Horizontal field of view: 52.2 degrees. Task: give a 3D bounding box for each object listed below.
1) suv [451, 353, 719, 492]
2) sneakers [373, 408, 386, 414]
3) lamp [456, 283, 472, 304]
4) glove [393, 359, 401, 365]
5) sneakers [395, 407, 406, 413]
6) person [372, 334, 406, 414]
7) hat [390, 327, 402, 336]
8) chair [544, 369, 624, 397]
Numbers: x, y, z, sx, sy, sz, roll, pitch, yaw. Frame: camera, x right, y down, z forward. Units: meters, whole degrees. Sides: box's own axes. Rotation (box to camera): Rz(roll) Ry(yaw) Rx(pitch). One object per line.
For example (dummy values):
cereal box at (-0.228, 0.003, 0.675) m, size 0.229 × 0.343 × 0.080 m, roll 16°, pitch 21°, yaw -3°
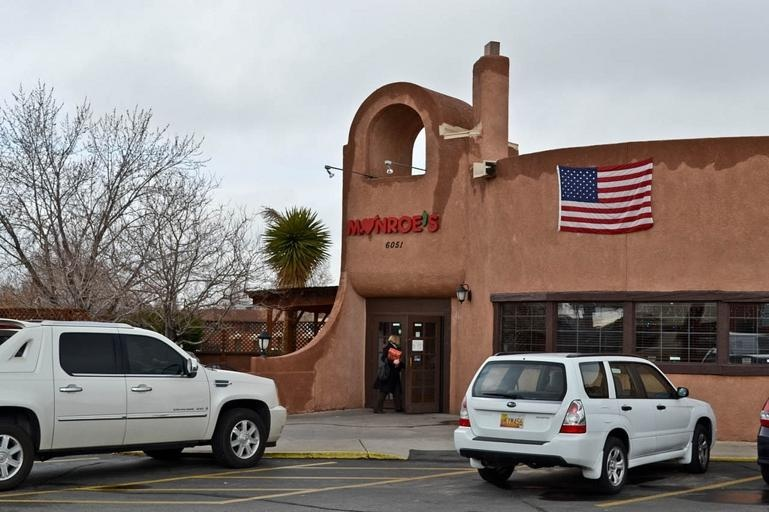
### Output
suv at (3.797, 2.989, 14.551) m, size 4.779 × 2.380 × 1.675 m, roll 2°, pitch -1°, yaw -28°
sneakers at (-0.207, 4.702, 23.973) m, size 0.492 × 0.203 × 0.155 m, roll -11°, pitch -11°, yaw 35°
lamp at (2.337, 1.076, 22.982) m, size 0.516 × 0.756 × 0.358 m, roll 5°, pitch -6°, yaw -34°
glove at (0.378, 3.175, 23.753) m, size 0.089 × 0.164 × 0.251 m, roll 0°, pitch -2°, yaw 40°
sneakers at (0.487, 4.750, 24.142) m, size 0.234 × 0.132 × 0.149 m, roll -3°, pitch -39°, yaw 8°
person at (0.239, 3.579, 23.870) m, size 0.891 × 2.314 × 0.583 m, roll 1°, pitch -1°, yaw -34°
hat at (0.371, 2.353, 24.943) m, size 0.230 × 0.423 × 0.414 m, roll 4°, pitch -9°, yaw -43°
chair at (3.505, 2.243, 13.984) m, size 0.990 × 0.535 × 0.583 m, roll -7°, pitch -4°, yaw -3°
